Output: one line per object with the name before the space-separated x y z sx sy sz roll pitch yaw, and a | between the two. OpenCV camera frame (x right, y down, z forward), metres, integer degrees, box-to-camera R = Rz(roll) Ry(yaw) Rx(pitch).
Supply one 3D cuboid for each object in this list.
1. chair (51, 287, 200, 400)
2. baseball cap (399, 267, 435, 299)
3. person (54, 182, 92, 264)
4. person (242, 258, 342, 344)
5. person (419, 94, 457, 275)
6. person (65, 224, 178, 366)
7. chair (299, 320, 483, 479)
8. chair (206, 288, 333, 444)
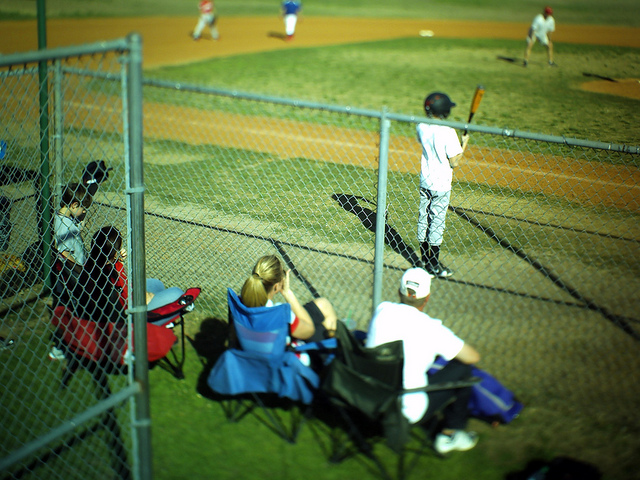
chair | -2.294 1.054 8.681 1.321 1.168 1.246 10 14 31
baseball cap | 1.004 0.437 7.908 0.254 0.277 0.283 19 24 40
person | -2.888 -0.225 8.867 0.324 0.965 0.553 -13 43 -33
person | -0.307 0.710 8.569 0.525 1.225 0.709 -4 46 34
person | 1.527 -0.710 10.029 0.501 2.408 0.704 3 18 2
person | -2.306 0.558 8.393 1.323 1.393 0.707 14 22 32
chair | 0.739 1.685 7.861 1.189 1.438 1.066 16 23 39
chair | -0.461 1.314 8.321 1.651 1.497 1.517 0 3 -29
